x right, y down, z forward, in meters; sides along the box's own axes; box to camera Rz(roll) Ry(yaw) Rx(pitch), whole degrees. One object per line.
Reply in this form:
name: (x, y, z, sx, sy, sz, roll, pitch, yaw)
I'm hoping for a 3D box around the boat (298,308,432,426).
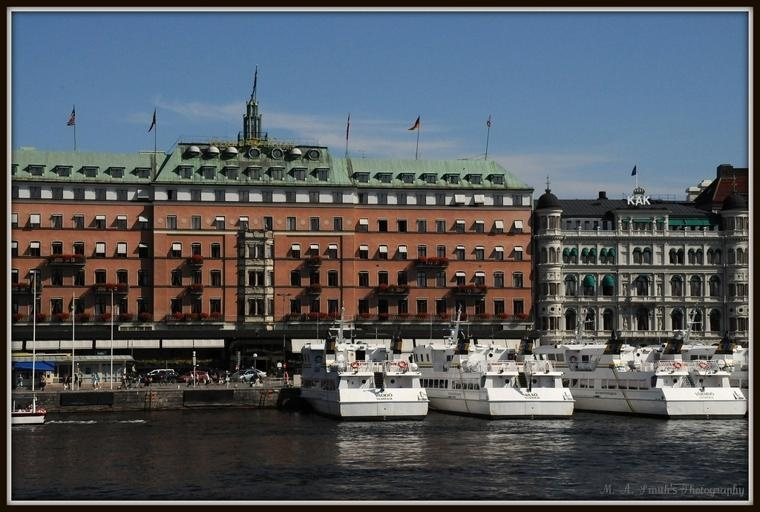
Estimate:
boat: (-2.377, 11.462, 193.908, 10.029, 8.868, 21.986, -1, 5, -10)
